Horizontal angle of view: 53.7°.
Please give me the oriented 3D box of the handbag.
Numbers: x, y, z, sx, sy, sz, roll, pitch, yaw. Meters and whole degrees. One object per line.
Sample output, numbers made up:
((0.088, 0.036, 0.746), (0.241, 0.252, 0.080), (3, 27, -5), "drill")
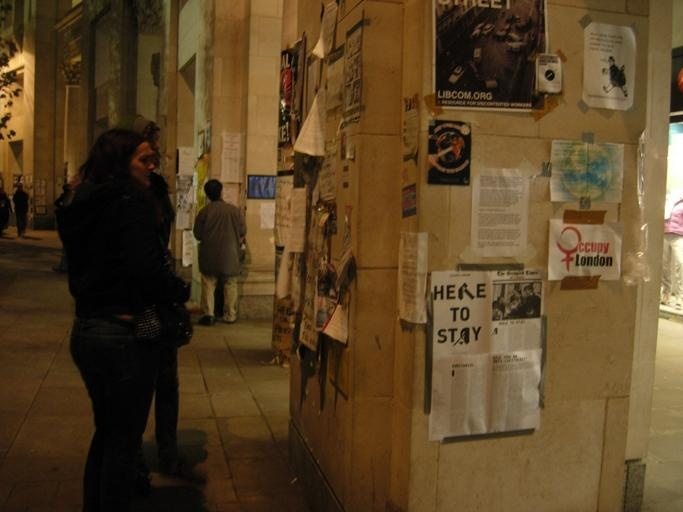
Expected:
((-1.084, 0.414, 3.941), (0.283, 0.326, 0.195), (8, 3, -38), "handbag")
